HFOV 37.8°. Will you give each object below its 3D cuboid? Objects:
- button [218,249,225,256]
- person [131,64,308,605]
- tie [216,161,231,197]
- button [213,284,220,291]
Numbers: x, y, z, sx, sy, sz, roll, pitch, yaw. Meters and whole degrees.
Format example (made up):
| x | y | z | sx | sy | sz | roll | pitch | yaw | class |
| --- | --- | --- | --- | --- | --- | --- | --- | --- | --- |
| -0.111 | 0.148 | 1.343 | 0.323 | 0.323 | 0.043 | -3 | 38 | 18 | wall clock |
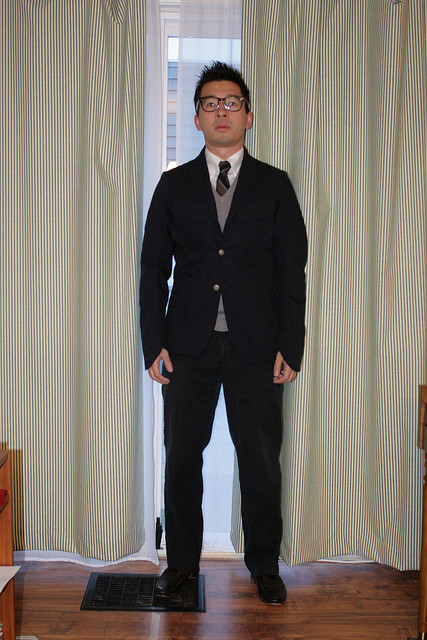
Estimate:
| x | y | z | sx | sy | sz | roll | pitch | yaw | class |
| --- | --- | --- | --- | --- | --- | --- | --- | --- | --- |
| 0.022 | -0.196 | 1.804 | 0.016 | 0.015 | 0.007 | 1 | 5 | 1 | button |
| 0.028 | 0.044 | 1.899 | 0.493 | 1.584 | 0.278 | 1 | 5 | 8 | person |
| 0.027 | -0.416 | 1.848 | 0.039 | 0.102 | 0.018 | 1 | 5 | 6 | tie |
| 0.007 | -0.093 | 1.795 | 0.018 | 0.018 | 0.007 | 1 | 5 | -1 | button |
